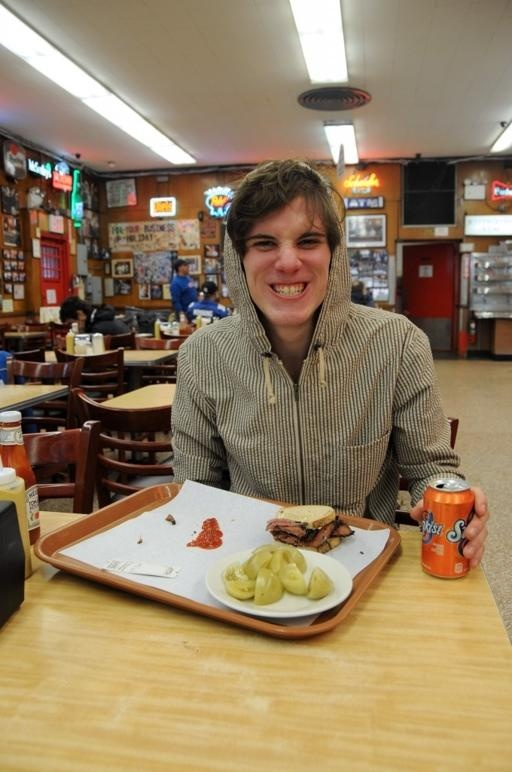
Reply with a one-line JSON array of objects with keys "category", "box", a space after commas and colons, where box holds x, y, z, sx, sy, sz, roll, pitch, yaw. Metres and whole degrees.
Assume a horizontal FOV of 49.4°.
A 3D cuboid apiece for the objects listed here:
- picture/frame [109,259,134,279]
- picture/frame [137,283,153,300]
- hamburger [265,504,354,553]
[{"category": "picture/frame", "box": [-2.829, -2.515, 11.842, 0.435, 0.366, 0.044, -2, 5, 11]}, {"category": "picture/frame", "box": [-2.336, -2.023, 11.777, 0.348, 0.433, 0.044, 1, 6, 2]}, {"category": "hamburger", "box": [0.086, 0.228, 0.895, 0.081, 0.027, 0.083, 7, 11, 32]}]
